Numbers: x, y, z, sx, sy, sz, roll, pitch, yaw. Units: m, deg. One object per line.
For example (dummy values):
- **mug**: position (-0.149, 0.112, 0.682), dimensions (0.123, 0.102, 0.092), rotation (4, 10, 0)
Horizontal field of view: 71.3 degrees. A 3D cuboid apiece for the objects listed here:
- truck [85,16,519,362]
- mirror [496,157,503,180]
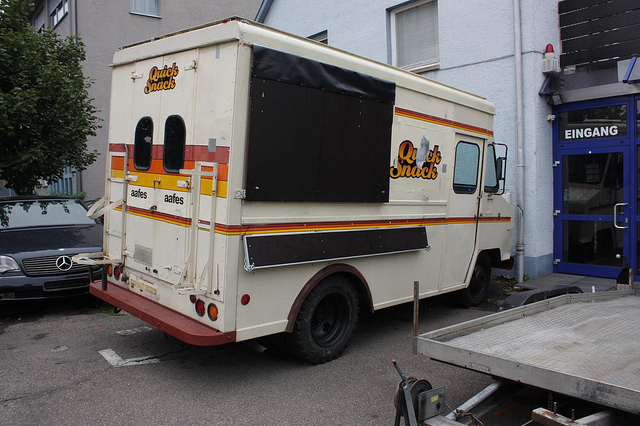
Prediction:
- **truck**: position (0.086, -0.312, 8.009), dimensions (6.571, 3.984, 3.633), rotation (-3, 6, -42)
- **mirror**: position (3.346, -0.823, 8.300), dimensions (0.092, 0.405, 0.162), rotation (7, 12, 33)
